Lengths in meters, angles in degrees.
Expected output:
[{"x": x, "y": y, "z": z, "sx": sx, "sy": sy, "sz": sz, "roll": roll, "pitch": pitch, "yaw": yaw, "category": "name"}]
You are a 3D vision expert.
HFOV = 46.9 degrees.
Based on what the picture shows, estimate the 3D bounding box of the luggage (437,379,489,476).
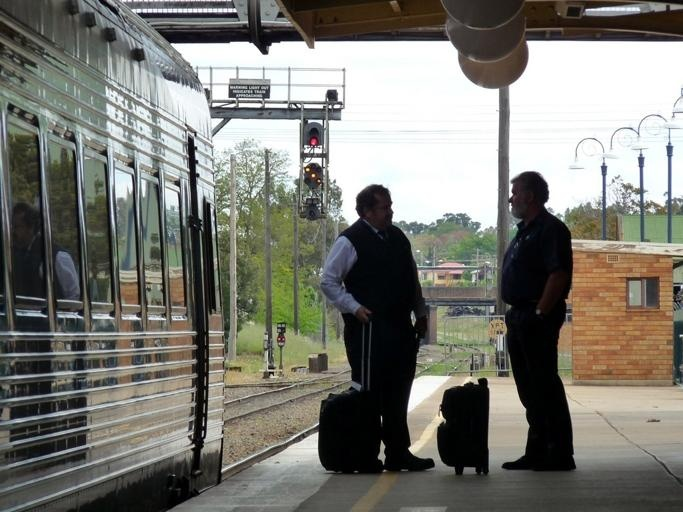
[{"x": 0.992, "y": 1.384, "z": 6.447, "sx": 0.423, "sy": 0.772, "sz": 0.255, "roll": -2, "pitch": -2, "yaw": 6, "category": "luggage"}]

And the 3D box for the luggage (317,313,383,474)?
[{"x": 0.068, "y": 1.208, "z": 6.705, "sx": 0.540, "sy": 1.273, "sz": 0.270, "roll": -1, "pitch": -2, "yaw": -1, "category": "luggage"}]

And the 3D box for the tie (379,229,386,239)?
[{"x": 0.350, "y": -0.190, "z": 6.795, "sx": 0.016, "sy": 0.075, "sz": 0.072, "roll": -15, "pitch": 1, "yaw": 41, "category": "tie"}]

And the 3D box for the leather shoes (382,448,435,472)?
[{"x": 0.558, "y": 1.724, "z": 6.756, "sx": 0.466, "sy": 0.226, "sz": 0.167, "roll": -2, "pitch": -2, "yaw": -5, "category": "leather shoes"}]

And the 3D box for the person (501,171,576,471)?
[{"x": 1.592, "y": 0.518, "z": 6.438, "sx": 0.637, "sy": 2.460, "sz": 0.467, "roll": -3, "pitch": -3, "yaw": 37, "category": "person"}]
